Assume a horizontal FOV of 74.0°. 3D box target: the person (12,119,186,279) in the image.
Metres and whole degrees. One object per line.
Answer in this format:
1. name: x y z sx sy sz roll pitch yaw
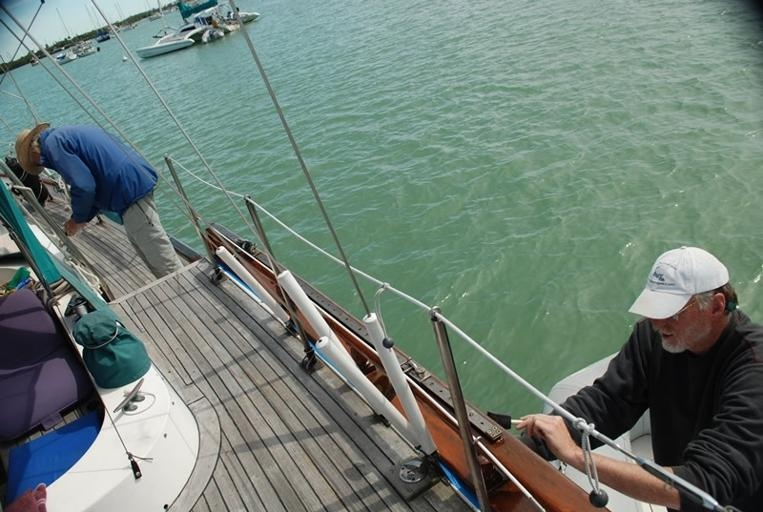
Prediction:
1. person: -2.589 -0.478 5.109 0.923 1.832 0.454 -39 35 -20

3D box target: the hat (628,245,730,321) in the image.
1. hat: 1.658 0.137 2.939 0.579 0.249 0.359 -30 19 -2

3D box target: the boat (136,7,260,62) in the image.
1. boat: -9.919 -11.756 26.642 5.187 1.450 2.554 -13 33 13
